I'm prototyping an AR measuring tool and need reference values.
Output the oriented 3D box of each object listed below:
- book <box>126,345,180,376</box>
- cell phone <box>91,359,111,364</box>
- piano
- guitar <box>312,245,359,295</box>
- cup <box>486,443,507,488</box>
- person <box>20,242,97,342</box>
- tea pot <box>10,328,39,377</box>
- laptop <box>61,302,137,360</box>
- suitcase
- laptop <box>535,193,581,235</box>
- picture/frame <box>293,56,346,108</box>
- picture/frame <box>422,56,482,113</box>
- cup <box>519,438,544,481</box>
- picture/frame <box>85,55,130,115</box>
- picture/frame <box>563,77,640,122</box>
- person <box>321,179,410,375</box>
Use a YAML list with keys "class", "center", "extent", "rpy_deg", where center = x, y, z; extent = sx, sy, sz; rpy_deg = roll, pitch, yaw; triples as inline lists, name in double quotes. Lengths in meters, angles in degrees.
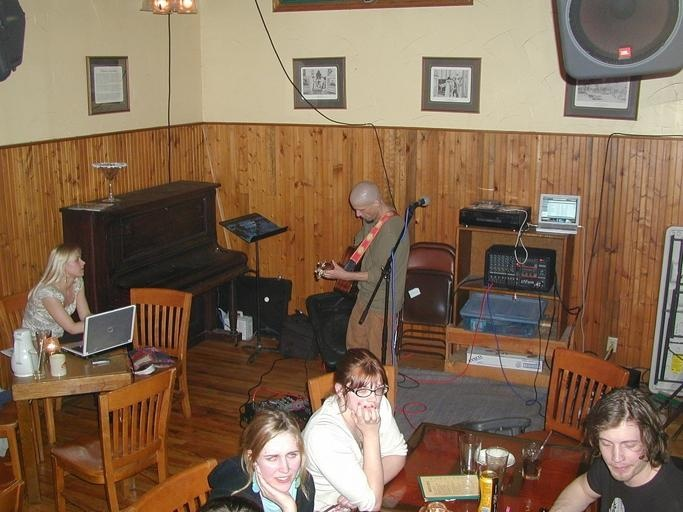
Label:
- class: "book"
  center: [-1.469, 0.813, 4.482]
  extent: [0.230, 0.073, 0.236]
  rpy_deg: [13, 9, 23]
- class: "cell phone"
  center: [-1.681, 0.748, 4.068]
  extent: [0.084, 0.031, 0.048]
  rpy_deg: [0, 5, -7]
- class: "piano"
  center: [-1.803, 0.201, 5.899]
  extent: [1.009, 1.786, 1.871]
  rpy_deg: [6, 13, 19]
- class: "guitar"
  center: [0.027, 0.170, 5.325]
  extent: [0.111, 0.470, 0.418]
  rpy_deg: [17, -7, -29]
- class: "cup"
  center: [0.809, 1.077, 2.913]
  extent: [0.126, 0.209, 0.131]
  rpy_deg: [0, 3, 0]
- class: "person"
  center: [-2.237, 0.291, 4.558]
  extent: [0.524, 1.015, 0.358]
  rpy_deg: [7, 19, -19]
- class: "tea pot"
  center: [-2.127, 0.646, 3.889]
  extent: [0.198, 0.313, 0.161]
  rpy_deg: [1, 6, -12]
- class: "laptop"
  center: [-1.756, 0.516, 4.197]
  extent: [0.328, 0.330, 0.405]
  rpy_deg: [12, 15, 31]
- class: "suitcase"
  center: [-0.887, 0.498, 6.488]
  extent: [0.737, 0.716, 0.185]
  rpy_deg: [0, 6, 18]
- class: "laptop"
  center: [2.046, -0.410, 5.506]
  extent: [0.361, 0.359, 0.304]
  rpy_deg: [5, 6, 27]
- class: "picture/frame"
  center: [-0.214, -1.881, 6.186]
  extent: [0.536, 0.481, 0.058]
  rpy_deg: [3, 8, 17]
- class: "picture/frame"
  center: [1.108, -1.729, 5.739]
  extent: [0.532, 0.523, 0.040]
  rpy_deg: [5, 13, 15]
- class: "cup"
  center: [0.997, 1.056, 2.967]
  extent: [0.100, 0.167, 0.163]
  rpy_deg: [2, 1, 22]
- class: "picture/frame"
  center: [-2.202, -1.643, 5.524]
  extent: [0.502, 0.528, 0.035]
  rpy_deg: [5, 8, 21]
- class: "picture/frame"
  center: [2.399, -1.449, 5.302]
  extent: [0.392, 0.413, 0.030]
  rpy_deg: [7, 18, 16]
- class: "person"
  center: [0.218, 0.173, 4.823]
  extent: [0.633, 1.572, 0.597]
  rpy_deg: [3, 6, 7]
